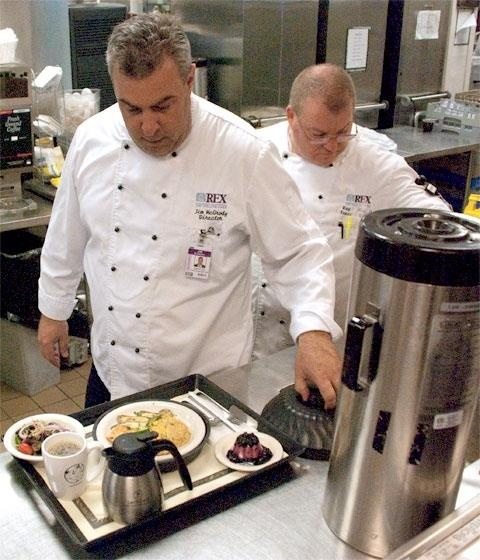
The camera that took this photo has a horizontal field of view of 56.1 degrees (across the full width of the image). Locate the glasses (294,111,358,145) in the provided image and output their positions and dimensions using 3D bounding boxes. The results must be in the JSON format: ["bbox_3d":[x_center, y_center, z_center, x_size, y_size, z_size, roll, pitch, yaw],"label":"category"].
[{"bbox_3d":[0.368,-0.732,2.090,0.186,0.117,0.214,1,30,-7],"label":"glasses"}]

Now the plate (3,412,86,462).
[{"bbox_3d":[-0.398,0.298,0.882,0.108,0.027,0.104,-6,27,-24],"label":"plate"}]

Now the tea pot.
[{"bbox_3d":[-0.148,0.293,0.695,0.120,0.133,0.082,-14,22,-38],"label":"tea pot"}]
